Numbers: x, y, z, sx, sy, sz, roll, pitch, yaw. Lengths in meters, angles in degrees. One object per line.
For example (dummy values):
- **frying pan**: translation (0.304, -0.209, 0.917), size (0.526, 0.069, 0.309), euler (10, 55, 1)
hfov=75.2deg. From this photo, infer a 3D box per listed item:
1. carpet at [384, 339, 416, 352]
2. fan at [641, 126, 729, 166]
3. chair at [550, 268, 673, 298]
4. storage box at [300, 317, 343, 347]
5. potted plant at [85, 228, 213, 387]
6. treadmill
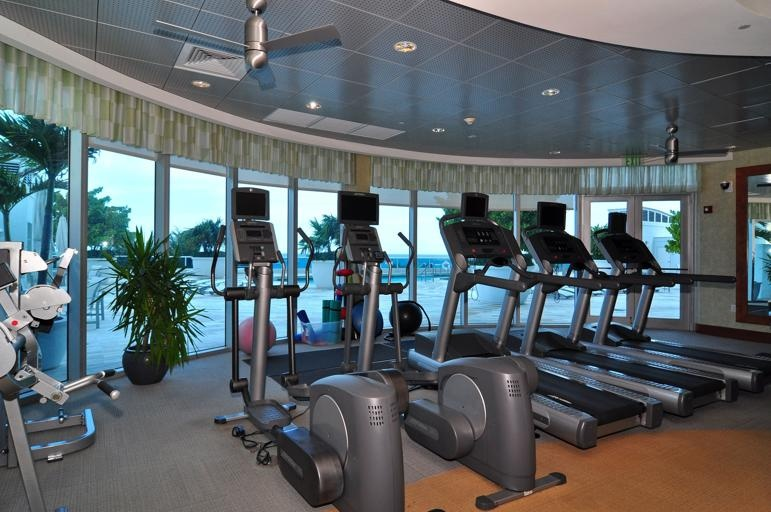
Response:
- **carpet**: translation (0.227, 1.363, 7.714), size (0.450, 0.088, 0.431), euler (0, -2, 10)
- **fan**: translation (4.927, -1.651, 8.220), size (1.131, 0.344, 1.030), euler (-7, 10, -19)
- **chair**: translation (3.067, 0.313, 6.289), size (0.847, 0.324, 0.977), euler (1, -7, -8)
- **storage box**: translation (-0.978, 1.208, 7.744), size (0.568, 0.225, 0.353), euler (0, -3, -18)
- **potted plant**: translation (-2.682, 0.647, 5.794), size (1.366, 1.507, 1.542), euler (9, -3, -33)
- **treadmill**: translation (2.396, 0.406, 6.001), size (3.482, 2.380, 2.581), euler (-4, 3, -31)
